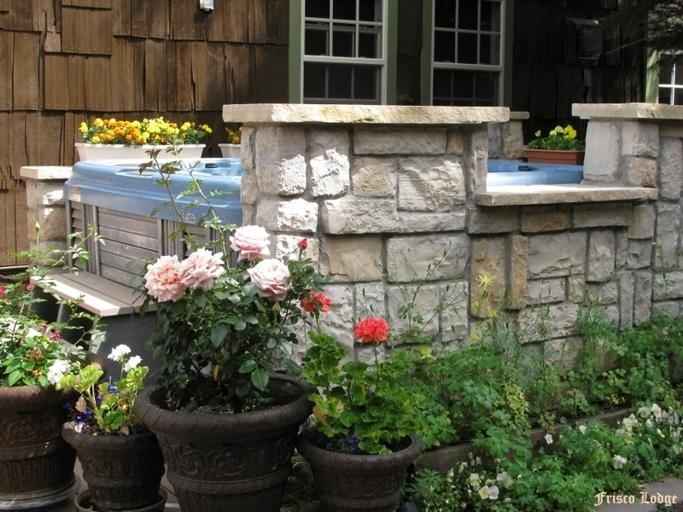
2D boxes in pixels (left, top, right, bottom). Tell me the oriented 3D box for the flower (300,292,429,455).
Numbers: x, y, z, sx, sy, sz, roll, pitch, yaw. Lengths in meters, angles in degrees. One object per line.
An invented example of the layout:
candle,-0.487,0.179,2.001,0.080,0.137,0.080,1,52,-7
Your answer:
flower,0.077,0.408,2.746,0.644,0.837,0.525,0,0,-31

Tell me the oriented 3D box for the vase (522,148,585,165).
vase,1.842,-0.873,5.478,0.248,0.141,0.689,-6,11,-25

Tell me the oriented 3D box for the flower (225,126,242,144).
flower,-1.070,-1.192,6.187,0.141,0.166,0.555,-3,10,-10
